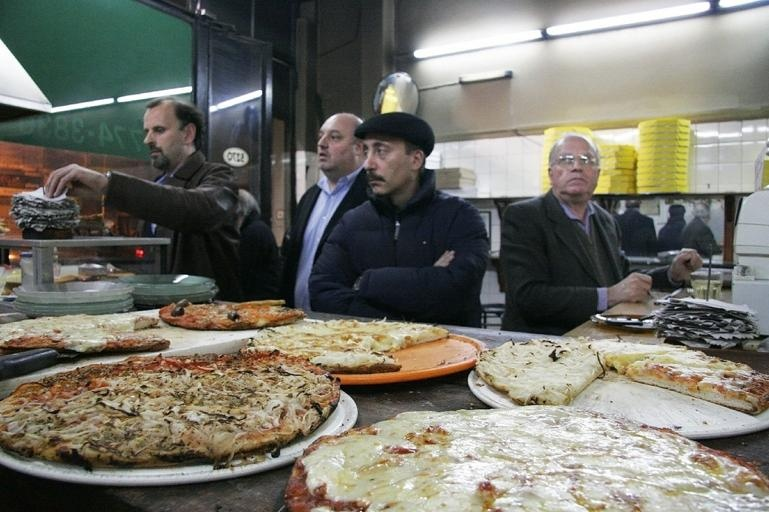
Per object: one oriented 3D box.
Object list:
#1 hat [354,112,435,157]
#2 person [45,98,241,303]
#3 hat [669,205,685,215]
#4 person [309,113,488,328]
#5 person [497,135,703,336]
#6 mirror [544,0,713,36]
[{"bbox_3d":[0.067,-0.741,3.099,0.380,0.102,0.307,14,8,-2],"label":"hat"},{"bbox_3d":[-1.341,-0.336,3.234,0.776,1.480,1.214,-5,6,-14],"label":"person"},{"bbox_3d":[3.506,-0.549,6.042,0.139,0.046,0.120,-4,1,7],"label":"hat"},{"bbox_3d":[0.121,-0.172,3.244,1.214,1.392,1.008,-4,2,35],"label":"person"},{"bbox_3d":[1.272,-0.163,3.447,0.977,1.389,0.805,-4,6,-2],"label":"person"},{"bbox_3d":[2.975,-2.887,6.200,1.589,0.051,0.221,5,36,39],"label":"mirror"}]
